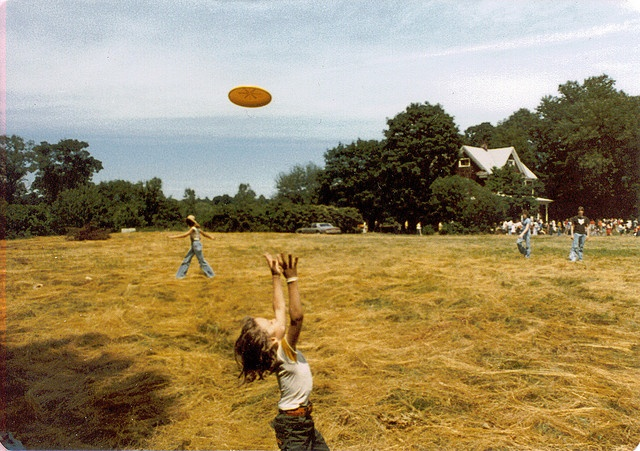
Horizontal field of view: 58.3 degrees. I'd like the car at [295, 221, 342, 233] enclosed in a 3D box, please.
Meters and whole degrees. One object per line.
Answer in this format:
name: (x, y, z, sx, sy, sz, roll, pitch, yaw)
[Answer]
car: (-0.100, 0.299, 49.327, 2.858, 0.729, 1.296, 3, 3, 26)
